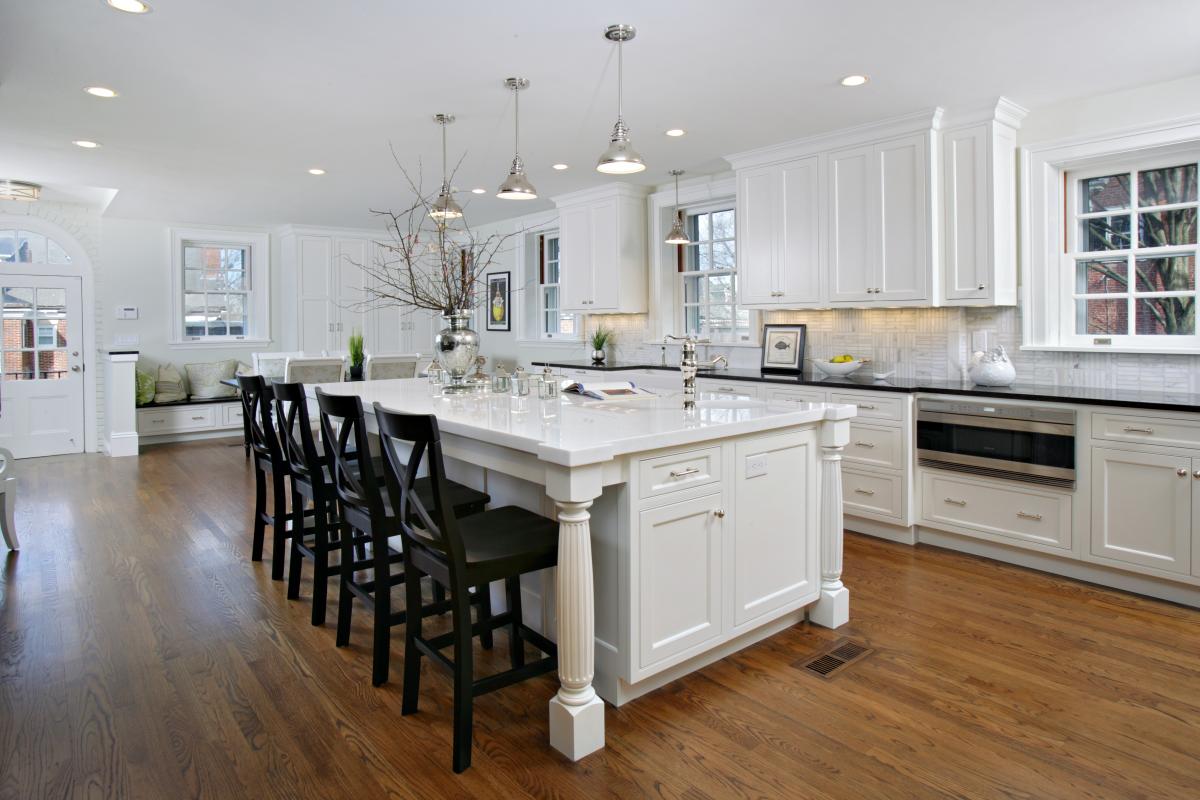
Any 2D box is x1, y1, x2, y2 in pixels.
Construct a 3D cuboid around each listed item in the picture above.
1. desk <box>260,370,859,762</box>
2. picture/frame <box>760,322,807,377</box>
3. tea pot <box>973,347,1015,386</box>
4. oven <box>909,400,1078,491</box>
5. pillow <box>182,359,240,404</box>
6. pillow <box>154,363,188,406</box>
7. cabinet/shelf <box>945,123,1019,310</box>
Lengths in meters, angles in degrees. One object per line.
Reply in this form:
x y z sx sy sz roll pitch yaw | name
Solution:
0.350 0.783 4.066 1.791 1.457 0.677 -6 7 -31 | desk
1.555 -0.428 6.654 0.491 0.582 0.066 -1 -13 45 | picture/frame
2.751 -0.234 5.528 0.265 0.255 0.333 0 6 26 | tea pot
2.544 0.311 5.411 1.008 0.452 0.670 6 -9 5 | oven
-4.501 -0.206 9.081 0.490 0.471 0.173 -5 -11 -10 | pillow
-4.906 -0.175 8.984 0.293 0.493 0.469 -6 -1 23 | pillow
2.647 -1.308 5.488 0.517 1.270 0.294 -1 6 11 | cabinet/shelf
